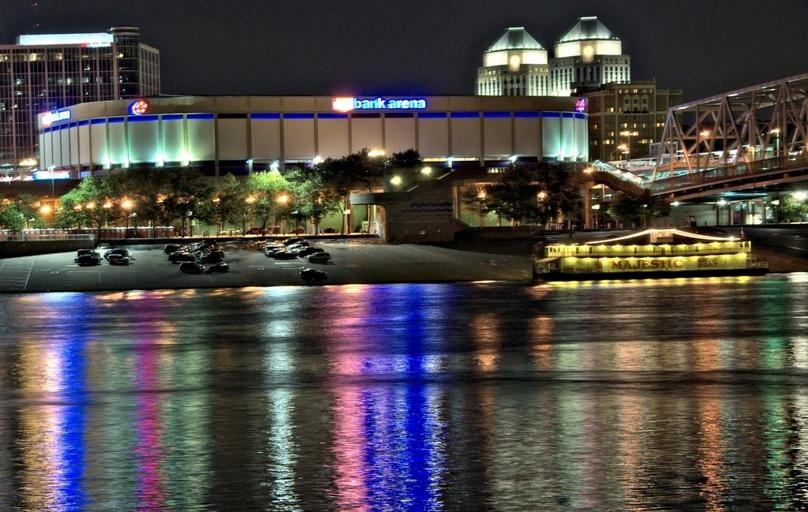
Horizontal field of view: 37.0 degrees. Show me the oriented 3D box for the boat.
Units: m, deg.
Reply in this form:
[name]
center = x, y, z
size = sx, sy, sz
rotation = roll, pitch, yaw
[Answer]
[boat]
center = 25.141, 0.037, 121.327
size = 26.433, 4.298, 5.208
rotation = -1, 3, -12
